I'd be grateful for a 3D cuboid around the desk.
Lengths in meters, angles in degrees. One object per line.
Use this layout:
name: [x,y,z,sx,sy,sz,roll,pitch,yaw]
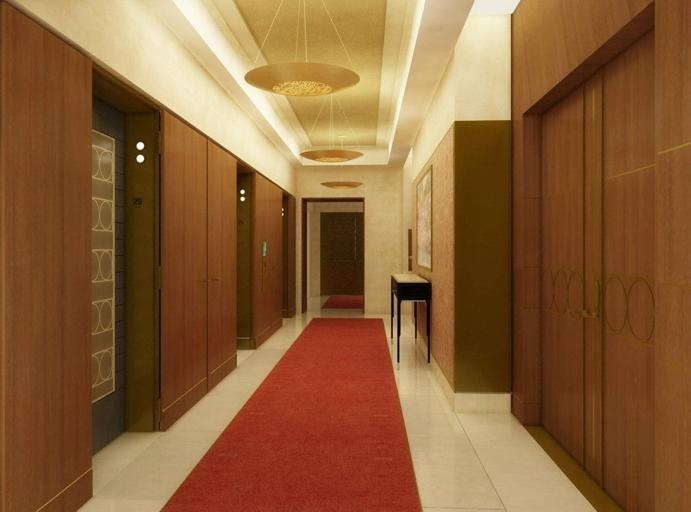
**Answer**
desk: [1.012,0.782,7.125,0.378,1.123,1.705,0,4,13]
